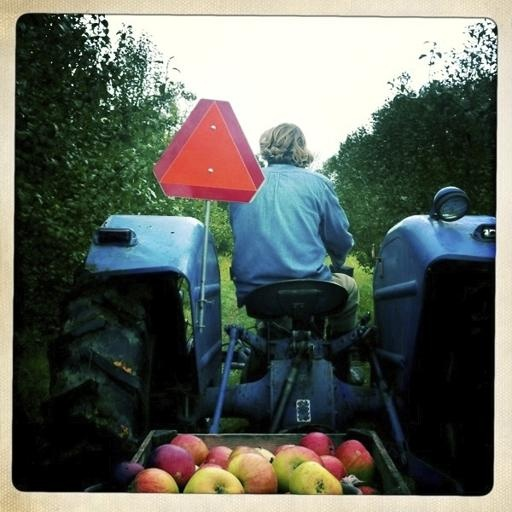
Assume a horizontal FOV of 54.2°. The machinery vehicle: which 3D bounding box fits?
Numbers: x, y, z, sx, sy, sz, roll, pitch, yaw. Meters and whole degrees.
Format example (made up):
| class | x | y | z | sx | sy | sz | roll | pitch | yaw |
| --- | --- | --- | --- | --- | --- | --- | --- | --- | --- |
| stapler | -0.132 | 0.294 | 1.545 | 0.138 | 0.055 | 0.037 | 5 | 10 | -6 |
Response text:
| class | x | y | z | sx | sy | sz | roll | pitch | yaw |
| --- | --- | --- | --- | --- | --- | --- | --- | --- | --- |
| machinery vehicle | 0.135 | 0.322 | 2.182 | 1.681 | 1.248 | 1.011 | 1 | 1 | 1 |
